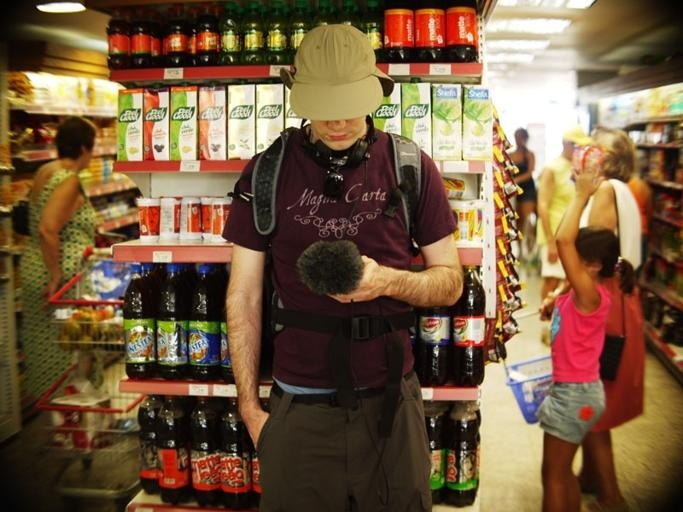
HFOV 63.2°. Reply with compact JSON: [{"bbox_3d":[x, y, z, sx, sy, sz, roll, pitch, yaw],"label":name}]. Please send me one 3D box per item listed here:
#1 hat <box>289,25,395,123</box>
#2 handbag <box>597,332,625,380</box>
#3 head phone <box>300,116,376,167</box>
[{"bbox_3d":[-0.022,-0.722,2.196,0.350,0.209,0.410,-2,31,-1],"label":"hat"},{"bbox_3d":[1.777,0.671,3.676,0.061,0.240,0.253,5,6,-9],"label":"handbag"},{"bbox_3d":[-0.015,-0.449,2.325,0.202,0.080,0.221,-5,-6,2],"label":"head phone"}]
